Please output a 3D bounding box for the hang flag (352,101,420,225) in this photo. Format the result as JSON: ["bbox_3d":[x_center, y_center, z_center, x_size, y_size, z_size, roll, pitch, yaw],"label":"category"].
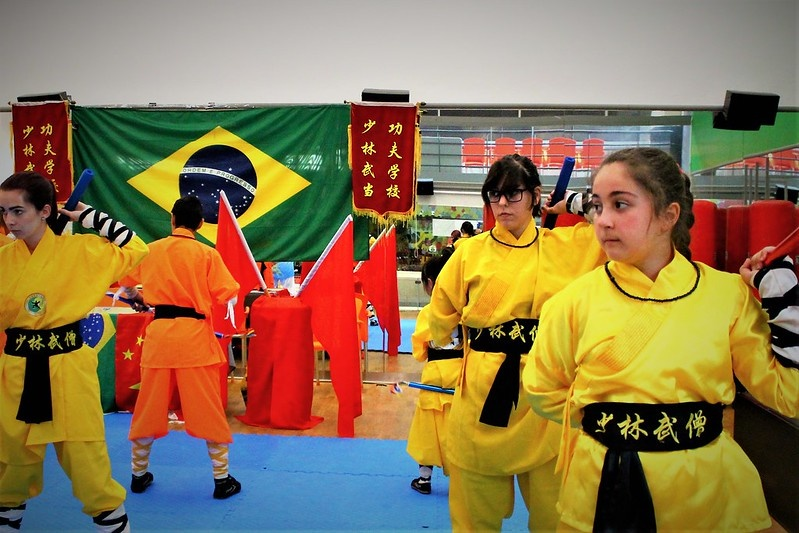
[{"bbox_3d":[-0.113,-0.841,5.372,0.471,0.979,0.179,5,12,5],"label":"hang flag"}]

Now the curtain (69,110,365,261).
[{"bbox_3d":[-1.391,-0.797,5.953,2.830,1.204,0.316,4,13,-3],"label":"curtain"}]

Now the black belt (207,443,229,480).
[{"bbox_3d":[-1.104,1.181,4.146,0.108,0.197,0.132,-4,10,-23],"label":"black belt"}]
